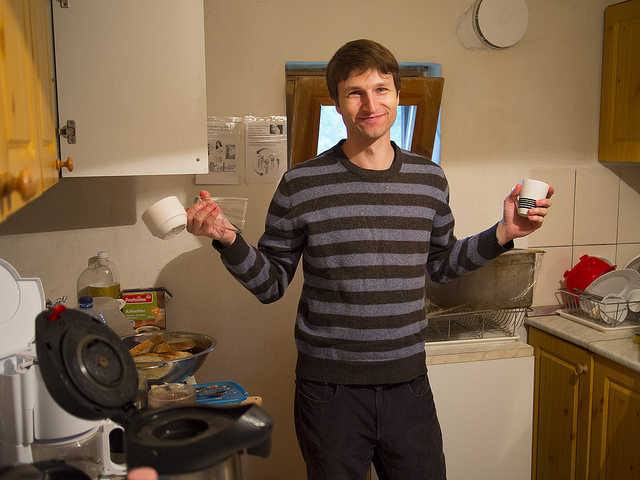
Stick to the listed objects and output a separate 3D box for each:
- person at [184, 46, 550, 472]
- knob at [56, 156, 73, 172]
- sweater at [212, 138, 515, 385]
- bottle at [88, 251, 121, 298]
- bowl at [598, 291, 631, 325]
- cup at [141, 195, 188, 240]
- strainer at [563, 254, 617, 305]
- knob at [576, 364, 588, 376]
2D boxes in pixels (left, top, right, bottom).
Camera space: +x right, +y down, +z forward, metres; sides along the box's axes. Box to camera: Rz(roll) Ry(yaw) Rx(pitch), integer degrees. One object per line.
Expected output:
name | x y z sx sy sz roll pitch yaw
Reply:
person | 0.127 0.076 1.682 1.051 1.346 0.385 -6 10 -23
knob | -0.797 -0.236 1.633 0.043 0.047 0.097 -6 11 -22
sweater | 0.145 0.061 1.762 1.024 0.799 0.341 3 -6 -4
bottle | -0.896 0.142 2.162 0.124 0.186 0.222 -6 11 -23
bowl | 1.347 0.303 2.369 0.159 0.145 0.147 -2 10 0
cup | -0.445 -0.075 1.563 0.136 0.111 0.094 -13 52 -39
strainer | 1.271 0.169 2.512 0.116 0.170 0.258 -7 11 -27
knob | 1.144 0.560 2.267 0.044 0.046 0.023 2 10 23
